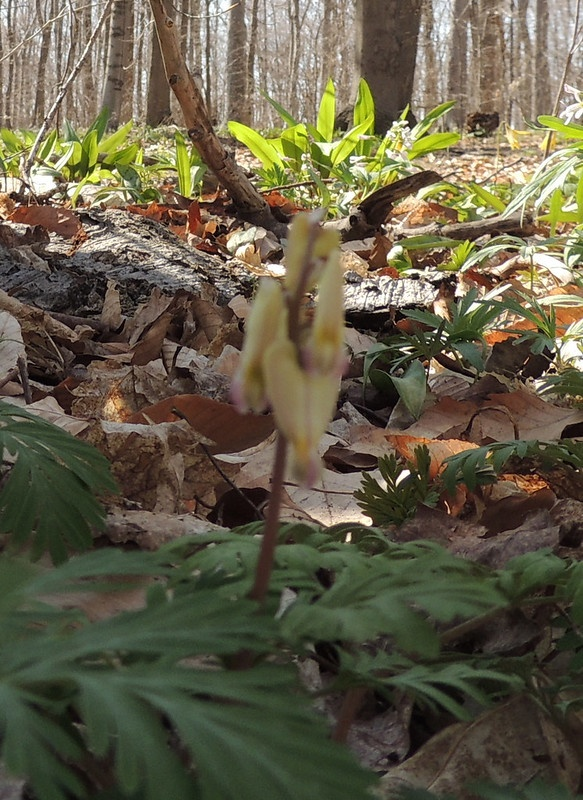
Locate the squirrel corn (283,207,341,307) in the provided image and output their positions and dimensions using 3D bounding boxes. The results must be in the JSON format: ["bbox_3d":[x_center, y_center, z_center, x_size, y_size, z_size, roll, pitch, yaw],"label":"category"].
[{"bbox_3d":[0.009,-0.119,0.584,0.037,0.086,0.023,19,2,15],"label":"squirrel corn"}]

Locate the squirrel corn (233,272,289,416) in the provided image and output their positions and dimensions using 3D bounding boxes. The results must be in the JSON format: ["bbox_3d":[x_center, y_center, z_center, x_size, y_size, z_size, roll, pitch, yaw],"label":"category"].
[{"bbox_3d":[-0.024,-0.042,0.585,0.039,0.110,0.033,-2,-18,17],"label":"squirrel corn"}]

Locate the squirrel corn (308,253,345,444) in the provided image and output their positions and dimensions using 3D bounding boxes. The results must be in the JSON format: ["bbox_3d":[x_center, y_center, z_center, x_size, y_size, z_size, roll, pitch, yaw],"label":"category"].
[{"bbox_3d":[0.027,-0.038,0.560,0.034,0.135,0.023,6,-9,-2],"label":"squirrel corn"}]
